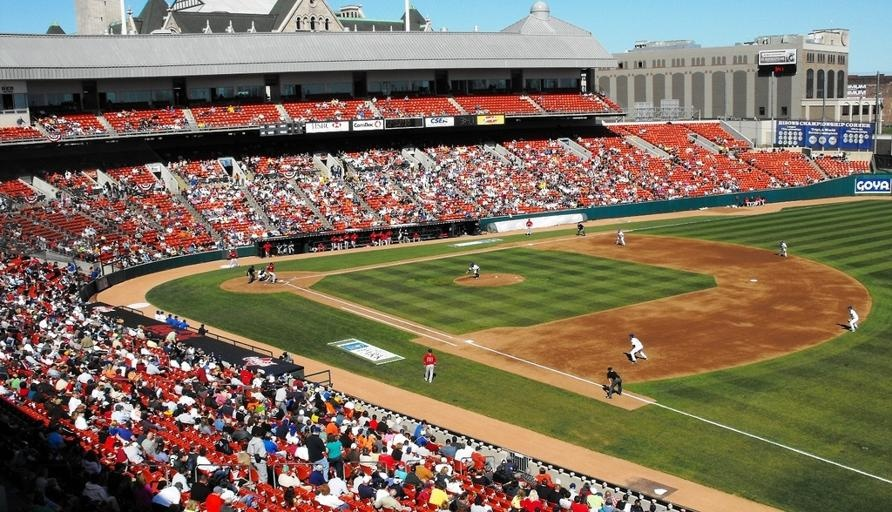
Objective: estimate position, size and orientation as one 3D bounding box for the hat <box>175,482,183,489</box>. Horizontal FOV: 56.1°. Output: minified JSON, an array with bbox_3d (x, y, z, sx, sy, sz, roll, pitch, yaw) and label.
[{"bbox_3d":[-13.674,11.726,42.754,0.296,0.289,0.334,8,14,19],"label":"hat"}]

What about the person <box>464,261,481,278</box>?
[{"bbox_3d":[2.457,1.225,75.796,1.130,1.254,2.529,-3,11,2],"label":"person"}]

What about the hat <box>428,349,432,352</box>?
[{"bbox_3d":[-1.151,6.555,57.255,0.318,0.139,0.290,-1,2,-29],"label":"hat"}]
